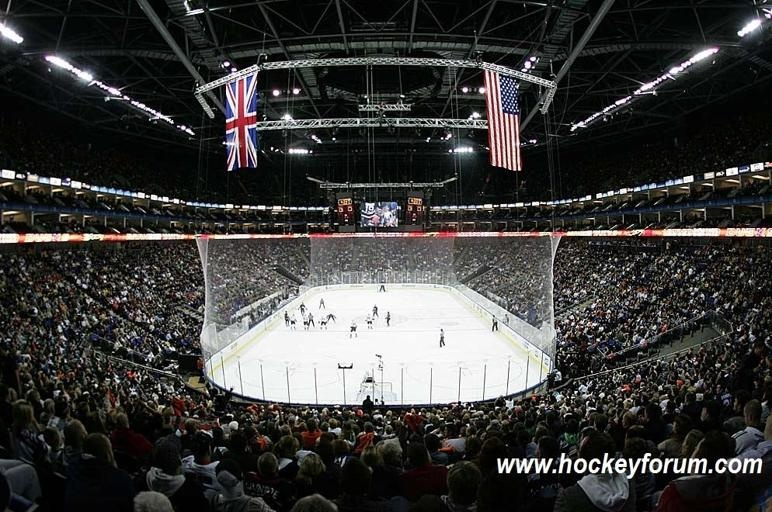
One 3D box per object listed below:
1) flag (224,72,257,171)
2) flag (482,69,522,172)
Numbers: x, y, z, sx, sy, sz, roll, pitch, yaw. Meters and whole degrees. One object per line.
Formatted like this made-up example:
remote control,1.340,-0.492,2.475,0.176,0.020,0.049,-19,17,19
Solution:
flag,-7.436,-6.906,30.826,1.578,4.951,0.718,0,5,-2
flag,6.045,-6.946,30.781,1.790,4.993,0.904,2,5,12
